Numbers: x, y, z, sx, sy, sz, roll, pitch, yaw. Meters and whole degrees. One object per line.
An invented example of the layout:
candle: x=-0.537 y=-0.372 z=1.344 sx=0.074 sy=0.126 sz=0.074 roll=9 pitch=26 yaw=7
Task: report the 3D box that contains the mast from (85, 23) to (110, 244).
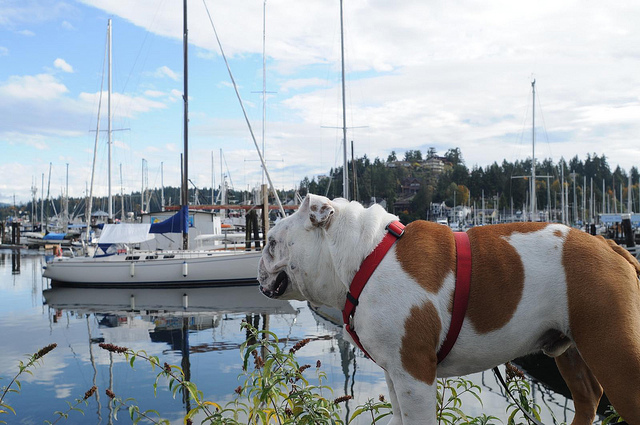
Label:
mast: x=-13.291 y=-1.069 z=41.859 sx=1.934 sy=13.179 sz=1.370 roll=2 pitch=-5 yaw=-21
